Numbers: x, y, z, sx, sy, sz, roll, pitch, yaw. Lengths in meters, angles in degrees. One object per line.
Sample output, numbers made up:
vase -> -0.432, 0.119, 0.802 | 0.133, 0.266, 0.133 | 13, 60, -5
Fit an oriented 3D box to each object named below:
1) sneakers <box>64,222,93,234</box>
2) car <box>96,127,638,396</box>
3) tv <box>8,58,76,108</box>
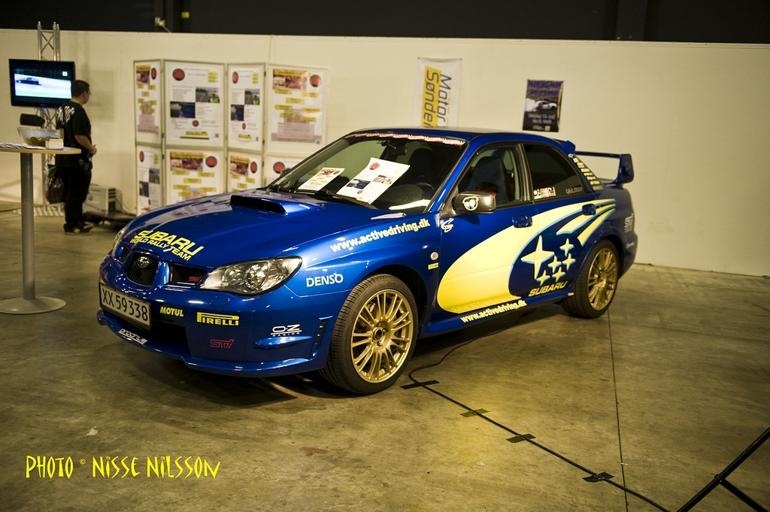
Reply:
sneakers -> -4.878, -0.453, 9.359 | 0.499, 0.181, 0.147 | -9, 30, -10
car -> 0.331, -0.152, 5.628 | 4.967, 1.368, 2.284 | -6, 15, -37
tv -> -5.984, -2.975, 10.132 | 1.505, 0.828, 0.172 | 1, 9, 7
